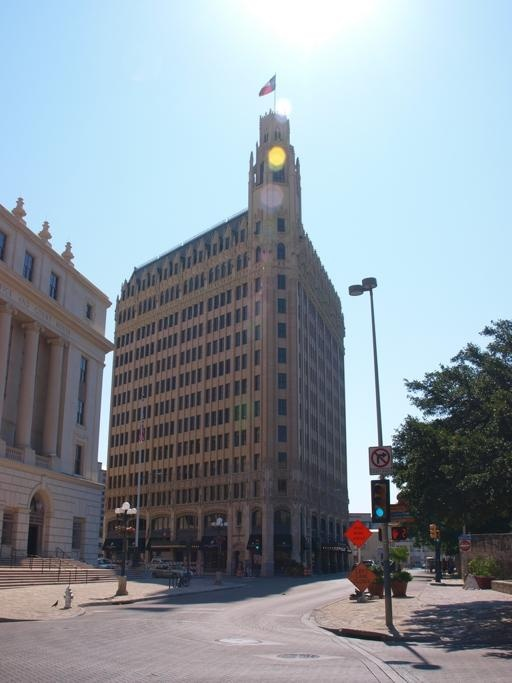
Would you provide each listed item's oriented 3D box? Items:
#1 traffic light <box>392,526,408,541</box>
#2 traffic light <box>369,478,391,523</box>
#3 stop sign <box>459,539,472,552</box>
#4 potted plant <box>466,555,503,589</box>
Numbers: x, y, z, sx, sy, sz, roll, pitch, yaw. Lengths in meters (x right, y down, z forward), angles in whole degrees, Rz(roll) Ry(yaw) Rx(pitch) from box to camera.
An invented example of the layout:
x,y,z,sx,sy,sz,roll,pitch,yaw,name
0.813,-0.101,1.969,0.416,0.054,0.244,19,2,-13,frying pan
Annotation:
x,y,z,sx,sy,sz,roll,pitch,yaw,name
4.077,5.424,17.731,0.231,0.498,0.450,5,-7,-32,traffic light
3.232,4.165,16.202,0.454,1.166,0.397,-2,7,12,traffic light
12.172,11.744,36.385,0.562,0.669,0.580,-13,-22,28,stop sign
12.336,12.259,33.401,1.368,1.839,1.245,6,-13,-15,potted plant
